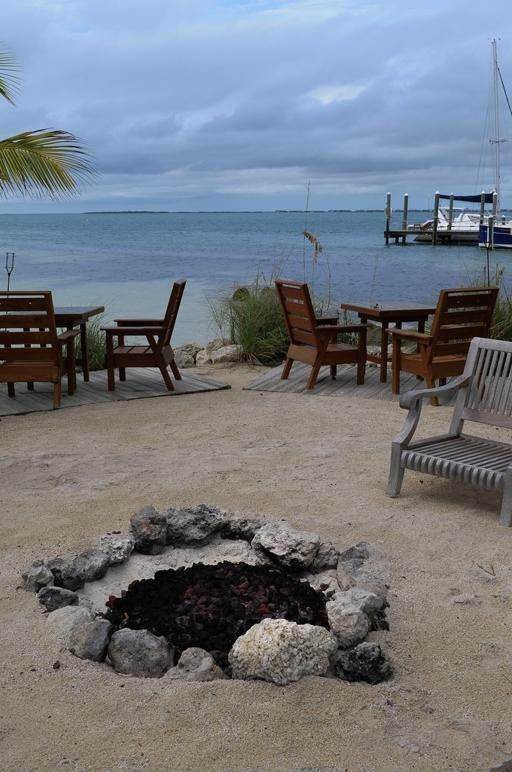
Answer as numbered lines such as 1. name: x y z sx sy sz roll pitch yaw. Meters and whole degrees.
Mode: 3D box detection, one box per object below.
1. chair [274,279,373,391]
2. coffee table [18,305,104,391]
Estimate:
1. chair: 0.926 -0.753 7.913 1.320 1.770 1.317 -7 13 -23
2. coffee table: -2.506 -0.544 7.522 1.071 1.056 1.076 -2 6 -11
